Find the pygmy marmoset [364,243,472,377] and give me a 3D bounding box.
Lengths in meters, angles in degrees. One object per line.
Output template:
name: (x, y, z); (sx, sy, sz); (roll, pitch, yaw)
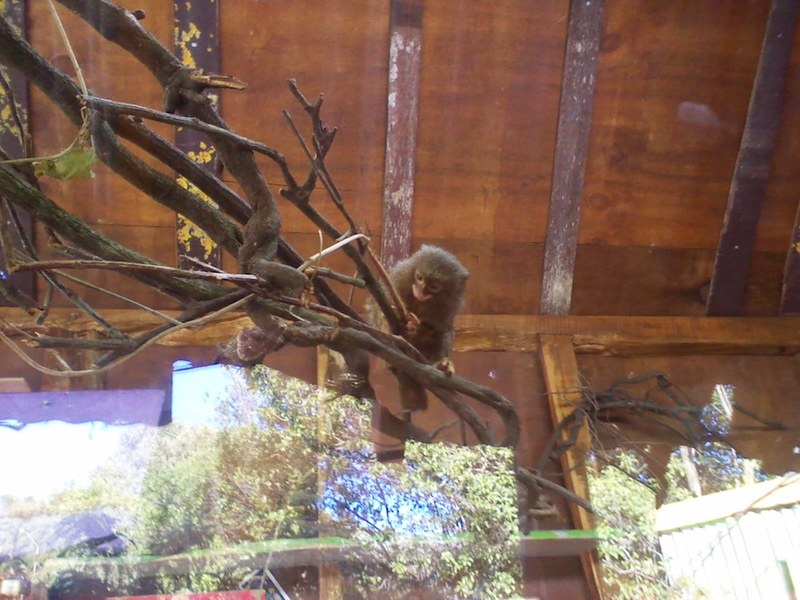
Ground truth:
pygmy marmoset: (0.041, 0.034, 2.676); (0.244, 0.306, 0.214); (20, -48, 5)
